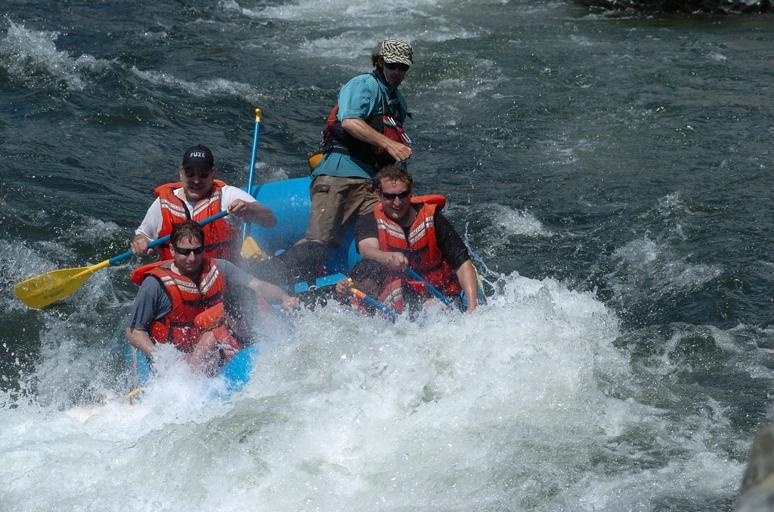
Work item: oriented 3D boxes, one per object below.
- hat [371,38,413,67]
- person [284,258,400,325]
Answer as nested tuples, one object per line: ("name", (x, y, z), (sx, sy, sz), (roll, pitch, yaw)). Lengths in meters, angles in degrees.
("hat", (0.046, -2.552, 11.216), (0.338, 0.238, 0.470), (9, -7, -7))
("person", (-0.865, 0.419, 11.813), (1.449, 0.632, 3.048), (-7, 8, -15))
